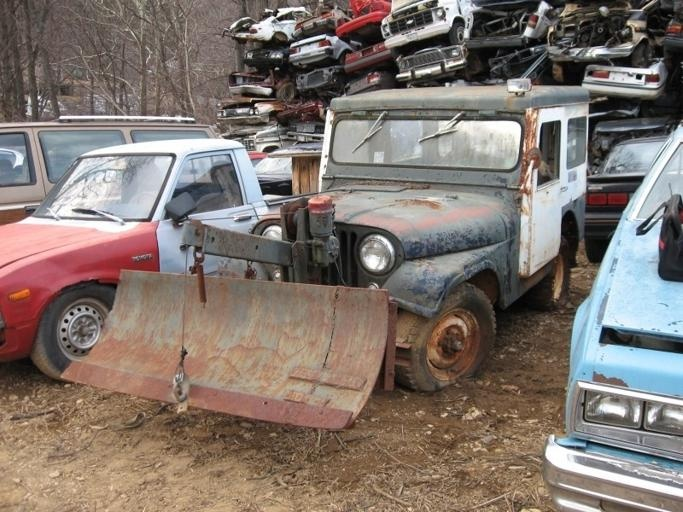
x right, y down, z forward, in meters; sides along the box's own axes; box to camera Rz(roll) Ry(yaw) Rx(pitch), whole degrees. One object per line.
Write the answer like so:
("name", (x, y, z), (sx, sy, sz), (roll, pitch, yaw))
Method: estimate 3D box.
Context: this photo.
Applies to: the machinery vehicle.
("machinery vehicle", (1.161, -0.584, 6.495), (2.542, 2.688, 4.717), (12, 21, 37))
